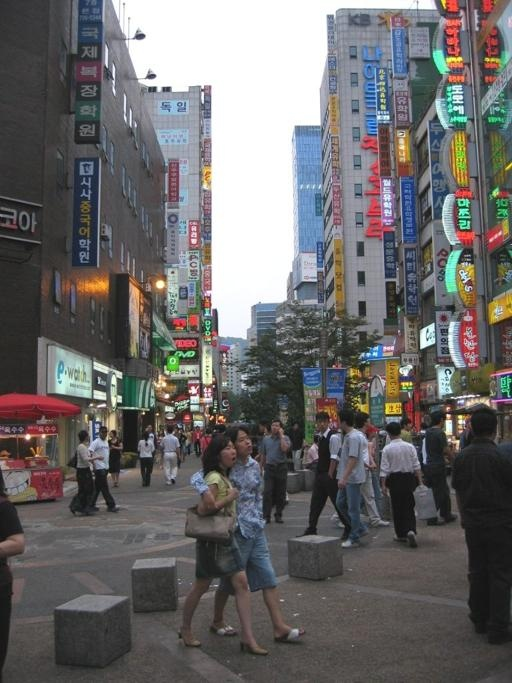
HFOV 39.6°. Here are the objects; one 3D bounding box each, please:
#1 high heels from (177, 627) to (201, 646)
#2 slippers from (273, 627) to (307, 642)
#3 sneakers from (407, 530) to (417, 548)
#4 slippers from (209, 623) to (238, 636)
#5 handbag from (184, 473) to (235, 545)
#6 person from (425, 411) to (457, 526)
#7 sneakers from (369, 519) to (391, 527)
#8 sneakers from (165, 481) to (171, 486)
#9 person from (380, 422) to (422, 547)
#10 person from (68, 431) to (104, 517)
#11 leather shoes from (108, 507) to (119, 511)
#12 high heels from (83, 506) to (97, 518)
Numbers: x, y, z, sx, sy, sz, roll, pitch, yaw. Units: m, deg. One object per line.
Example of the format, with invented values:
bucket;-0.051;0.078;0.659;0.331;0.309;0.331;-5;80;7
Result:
high heels;-0.492;2.186;5.242;0.148;0.061;0.082;-6;-7;37
slippers;0.247;2.194;5.297;0.202;0.074;0.110;-4;-9;-3
sneakers;2.122;2.687;9.592;0.108;0.323;0.132;-6;2;4
slippers;-0.258;2.288;5.628;0.146;0.053;0.086;-8;-8;30
handbag;-0.316;1.180;5.100;0.378;0.477;0.357;1;-4;-14
person;3.194;2.212;12.405;0.553;1.880;0.614;7;-8;-31
sneakers;2.122;3.150;12.291;0.383;0.181;0.136;-1;-8;-2
sneakers;-2.896;4.629;23.294;0.121;0.181;0.182;2;-28;-7
person;2.078;2.026;10.129;0.608;1.705;1.002;1;-4;-17
person;-3.815;2.902;15.618;0.524;1.849;1.038;1;-4;-14
leather shoes;-3.141;3.719;15.657;0.205;0.100;0.081;-6;-2;6
high heels;-3.578;3.685;15.369;0.412;0.190;0.129;-8;14;-36
